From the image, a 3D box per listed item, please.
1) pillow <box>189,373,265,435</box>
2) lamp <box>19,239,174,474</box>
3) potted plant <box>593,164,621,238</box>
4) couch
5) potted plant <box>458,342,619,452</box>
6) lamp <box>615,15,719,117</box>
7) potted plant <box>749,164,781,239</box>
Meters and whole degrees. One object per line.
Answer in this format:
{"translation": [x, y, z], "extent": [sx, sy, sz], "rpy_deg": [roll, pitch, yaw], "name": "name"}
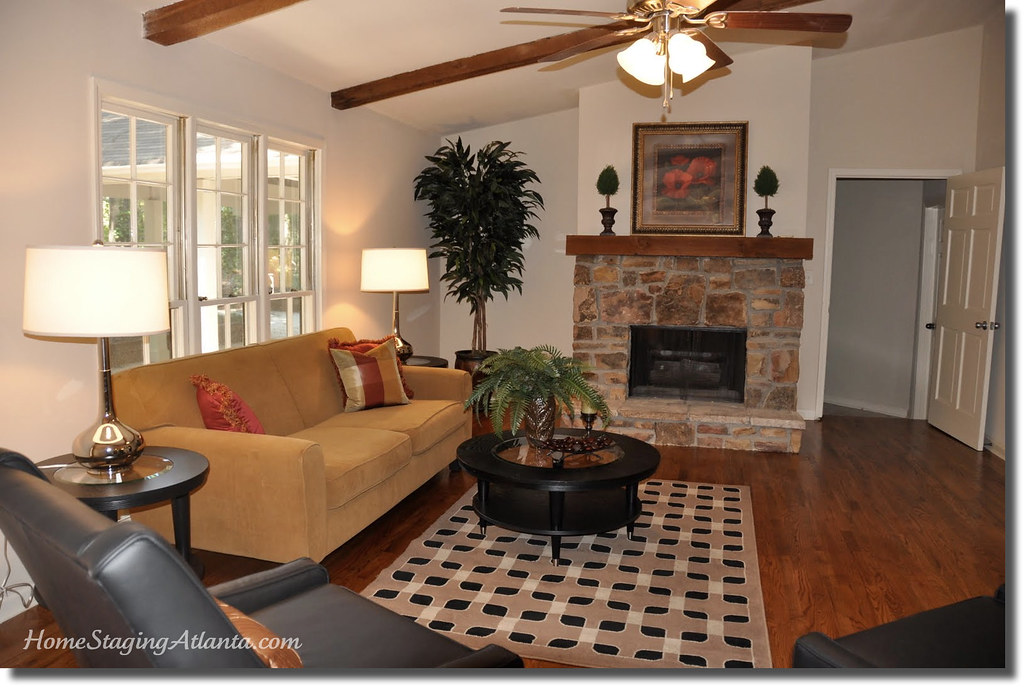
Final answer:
{"translation": [-1.626, 0.361, 3.671], "extent": [0.361, 0.324, 0.342], "rpy_deg": [-2, 11, -15], "name": "pillow"}
{"translation": [-1.881, 0.059, 2.972], "extent": [0.561, 1.002, 0.305], "rpy_deg": [0, 12, -3], "name": "lamp"}
{"translation": [0.932, -1.375, 6.293], "extent": [0.223, 0.673, 0.352], "rpy_deg": [2, 12, 8], "name": "potted plant"}
{"translation": [-1.261, 0.065, 3.827], "extent": [1.307, 1.072, 2.267], "rpy_deg": [3, 9, 17], "name": "couch"}
{"translation": [0.203, 0.379, 4.061], "extent": [0.854, 0.486, 0.850], "rpy_deg": [7, 9, 36], "name": "potted plant"}
{"translation": [0.807, -1.366, 3.229], "extent": [0.441, 0.508, 0.506], "rpy_deg": [-1, 11, -9], "name": "lamp"}
{"translation": [2.351, -1.303, 6.008], "extent": [0.232, 0.658, 0.389], "rpy_deg": [5, 13, 20], "name": "potted plant"}
